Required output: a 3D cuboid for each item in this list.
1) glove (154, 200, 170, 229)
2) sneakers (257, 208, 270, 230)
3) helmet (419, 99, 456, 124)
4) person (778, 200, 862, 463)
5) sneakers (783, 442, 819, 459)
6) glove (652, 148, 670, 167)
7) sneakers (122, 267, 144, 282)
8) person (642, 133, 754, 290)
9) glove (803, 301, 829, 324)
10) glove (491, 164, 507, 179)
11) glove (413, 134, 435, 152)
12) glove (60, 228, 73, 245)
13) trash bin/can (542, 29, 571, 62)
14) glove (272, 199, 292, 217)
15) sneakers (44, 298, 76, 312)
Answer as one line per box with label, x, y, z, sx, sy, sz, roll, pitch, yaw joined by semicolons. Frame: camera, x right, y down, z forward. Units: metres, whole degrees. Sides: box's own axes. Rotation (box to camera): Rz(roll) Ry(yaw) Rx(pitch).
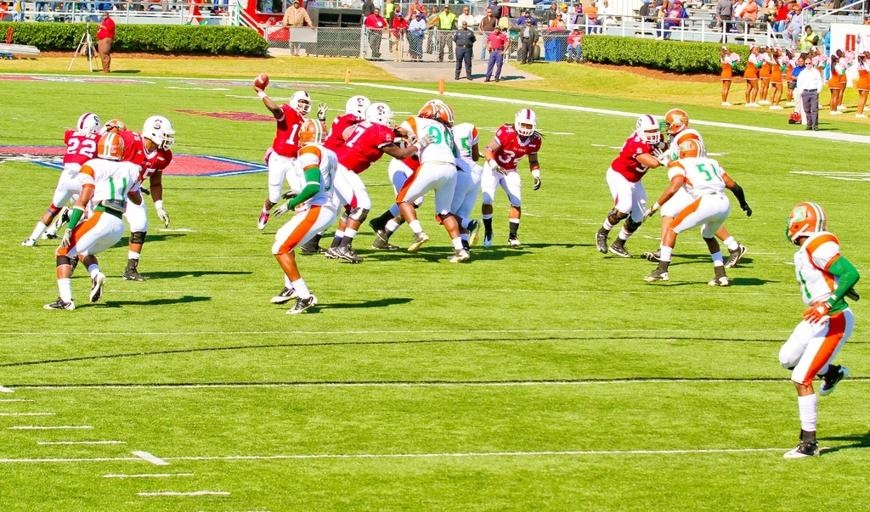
glove;-5.327;-0.795;28.993;0.243;0.586;0.204;-32;-23;0
sneakers;-3.306;-0.716;29.098;0.205;0.481;0.237;9;5;-24
helmet;0.021;-2.642;27.612;0.719;0.508;0.464;-11;24;-12
person;5.316;1.061;20.941;1.015;3.549;0.811;5;9;11
sneakers;5.126;2.735;20.895;0.605;0.216;0.179;-4;50;9
glove;4.150;-1.813;27.498;0.331;0.097;0.317;20;50;36
sneakers;-5.145;0.321;25.788;0.487;0.261;0.147;1;26;-6
person;4.591;-0.744;26.461;1.493;2.576;0.876;4;9;6
glove;5.255;0.775;20.659;0.336;0.302;0.166;10;11;44
glove;1.188;-1.616;28.295;0.296;0.086;0.200;25;-16;-24
glove;-0.227;-2.038;26.869;0.264;0.138;0.386;9;38;39
glove;-5.914;-0.311;23.903;0.130;0.264;0.262;-4;10;-37
trash bin/can;5.049;-8.761;62.235;1.480;1.441;1.303;0;6;-10
glove;-2.560;-0.797;24.098;0.427;0.132;0.247;14;-12;8
sneakers;-6.061;0.789;24.246;0.584;0.194;0.185;4;12;1
